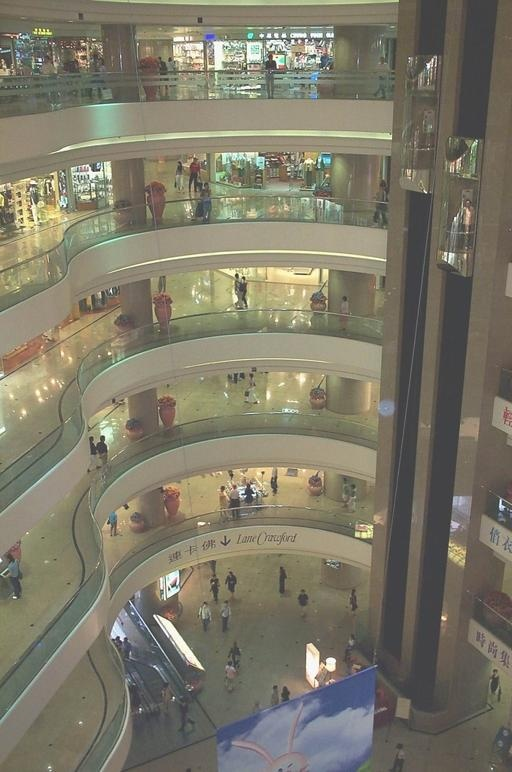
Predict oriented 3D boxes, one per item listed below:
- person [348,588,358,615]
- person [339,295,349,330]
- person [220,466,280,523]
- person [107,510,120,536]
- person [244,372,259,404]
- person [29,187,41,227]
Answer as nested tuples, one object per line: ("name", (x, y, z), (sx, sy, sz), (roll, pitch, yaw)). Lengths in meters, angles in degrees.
("person", (2.696, 5.870, 16.874), (0.235, 0.734, 1.145), (-4, 14, 10))
("person", (1.996, -1.668, 13.702), (0.196, 0.674, 0.863), (-3, 14, 10))
("person", (-0.316, 2.972, 16.027), (1.041, 0.636, 1.360), (0, 38, 4))
("person", (-3.519, 3.214, 14.639), (0.256, 0.592, 0.822), (-9, 14, -14))
("person", (-0.136, 0.083, 16.442), (0.397, 0.991, 0.651), (3, 45, 1))
("person", (-5.356, -4.360, 14.593), (0.243, 0.889, 0.640), (-9, 13, -16))
